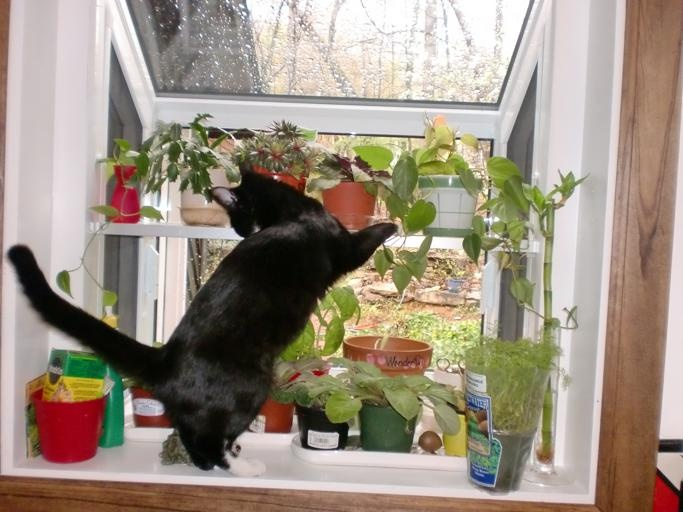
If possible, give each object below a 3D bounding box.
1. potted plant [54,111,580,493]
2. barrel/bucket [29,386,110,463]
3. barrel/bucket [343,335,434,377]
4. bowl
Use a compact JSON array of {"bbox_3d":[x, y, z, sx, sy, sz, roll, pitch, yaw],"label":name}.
[{"bbox_3d":[-0.057,0.099,1.465,0.819,0.767,0.290,3,-22,5],"label":"potted plant"},{"bbox_3d":[-0.589,0.365,1.405,0.152,0.125,0.137,4,-6,-21],"label":"barrel/bucket"},{"bbox_3d":[0.113,0.239,1.577,0.134,0.085,0.135,2,3,0],"label":"barrel/bucket"},{"bbox_3d":[0.109,0.239,1.574,0.135,0.085,0.135,2,2,0],"label":"bowl"}]
